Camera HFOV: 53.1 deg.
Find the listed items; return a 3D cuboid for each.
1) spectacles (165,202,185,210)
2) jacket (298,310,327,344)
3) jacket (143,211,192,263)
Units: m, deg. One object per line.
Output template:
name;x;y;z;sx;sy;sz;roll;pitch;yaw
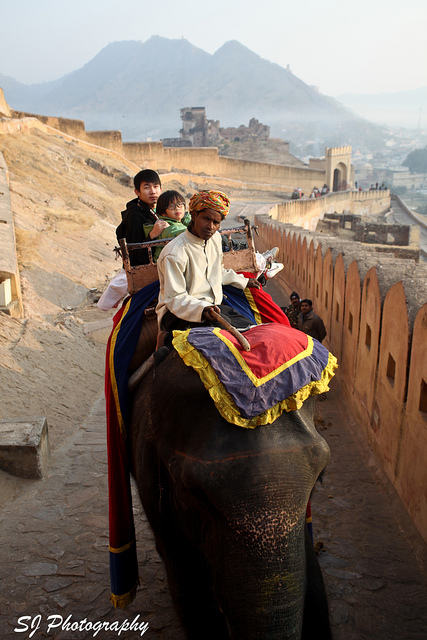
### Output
spectacles;-0.248;-0.727;2.695;0.103;0.046;0.041;-5;10;-20
jacket;1.419;0.123;6.181;0.324;0.463;0.538;-1;9;3
jacket;-0.284;-0.531;2.653;0.296;0.303;0.387;-3;9;-7
